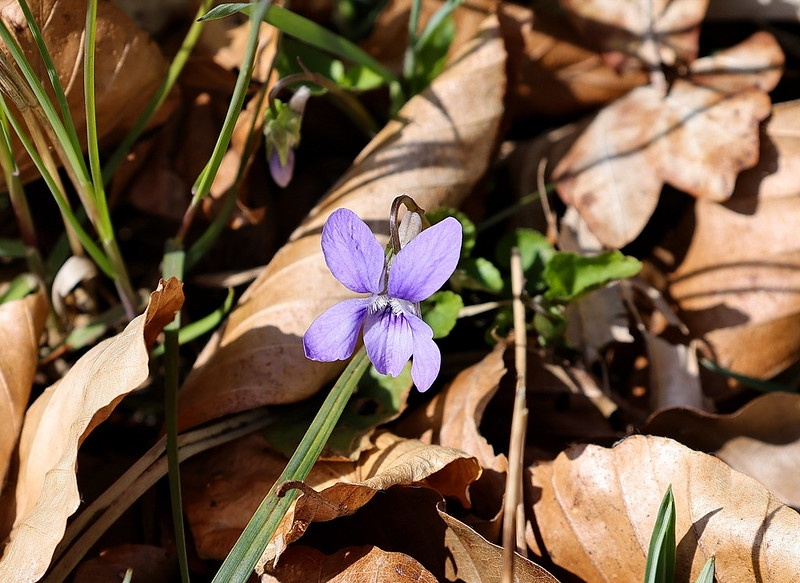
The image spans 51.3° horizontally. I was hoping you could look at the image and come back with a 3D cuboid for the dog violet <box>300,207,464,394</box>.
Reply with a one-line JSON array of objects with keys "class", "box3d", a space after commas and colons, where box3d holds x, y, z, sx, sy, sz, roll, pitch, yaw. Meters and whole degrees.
[{"class": "dog violet", "box3d": [-0.038, -0.004, 2.072, 0.354, 0.409, 0.238, 6, 19, 5]}]
